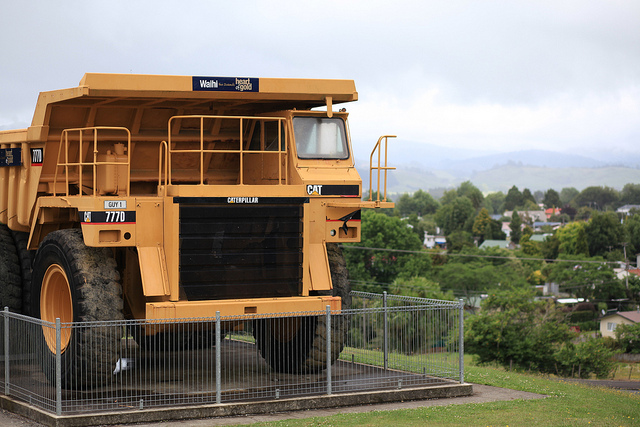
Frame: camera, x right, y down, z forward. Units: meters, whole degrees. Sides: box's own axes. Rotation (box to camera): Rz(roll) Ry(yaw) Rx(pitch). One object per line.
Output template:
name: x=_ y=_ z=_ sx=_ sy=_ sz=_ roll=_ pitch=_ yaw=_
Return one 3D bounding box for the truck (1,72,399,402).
truck: x=-4.558 y=0.048 z=20.881 sx=5.650 sy=4.715 sz=9.551 roll=1 pitch=-2 yaw=-32
